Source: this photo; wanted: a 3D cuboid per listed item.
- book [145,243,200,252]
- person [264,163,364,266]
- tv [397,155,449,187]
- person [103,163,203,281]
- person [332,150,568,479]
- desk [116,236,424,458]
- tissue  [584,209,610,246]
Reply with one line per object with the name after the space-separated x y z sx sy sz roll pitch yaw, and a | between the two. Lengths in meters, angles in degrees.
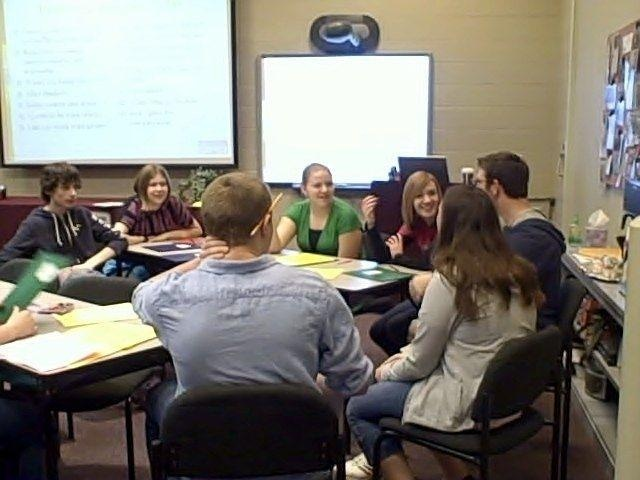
-1.031 0.057 3.875 0.264 0.023 0.249 -3 6 -28 | book
0.044 -0.219 4.072 0.658 1.054 0.630 3 8 22 | person
0.674 -0.448 3.595 0.323 0.247 0.190 3 29 15 | tv
-1.362 -0.058 4.402 0.548 0.931 0.778 25 25 36 | person
0.534 0.078 3.648 1.482 2.459 0.950 3 0 6 | person
-0.221 0.381 1.990 0.792 0.923 0.527 5 34 5 | desk
1.875 -0.048 3.786 0.132 0.246 0.173 1 0 -4 | tissue 
